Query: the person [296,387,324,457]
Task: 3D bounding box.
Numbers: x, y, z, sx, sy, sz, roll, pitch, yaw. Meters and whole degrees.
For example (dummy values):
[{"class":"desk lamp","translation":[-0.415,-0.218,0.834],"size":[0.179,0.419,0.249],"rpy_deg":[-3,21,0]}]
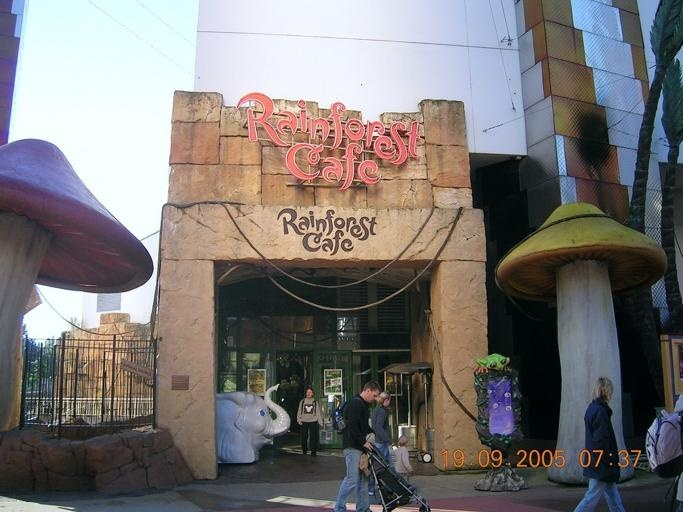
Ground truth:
[{"class":"person","translation":[-0.842,4.672,19.478],"size":[0.613,1.808,1.489],"rpy_deg":[0,-12,-4]}]
